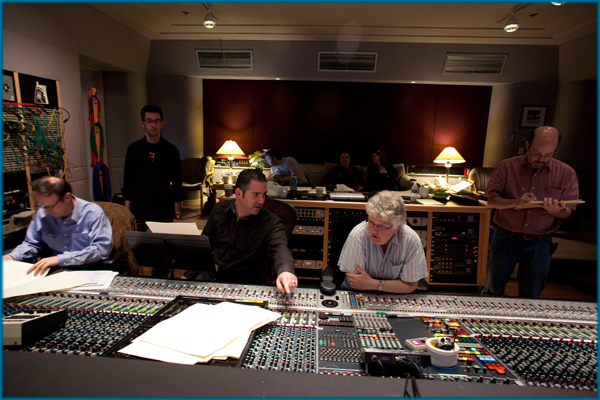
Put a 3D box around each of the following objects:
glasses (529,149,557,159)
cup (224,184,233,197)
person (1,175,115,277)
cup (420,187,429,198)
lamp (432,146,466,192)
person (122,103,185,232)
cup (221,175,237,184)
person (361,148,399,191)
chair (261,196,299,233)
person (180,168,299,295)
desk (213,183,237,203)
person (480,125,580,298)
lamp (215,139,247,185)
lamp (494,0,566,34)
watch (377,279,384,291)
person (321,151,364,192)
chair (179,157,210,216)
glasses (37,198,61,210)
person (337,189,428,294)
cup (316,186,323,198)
[{"bbox_3d":[2.330,-0.438,4.016,0.129,0.073,0.162,5,2,12],"label":"glasses"},{"bbox_3d":[-0.921,-0.129,5.467,0.158,0.171,0.139,-1,-5,-2],"label":"cup"},{"bbox_3d":[-2.195,0.228,3.921,0.896,0.827,0.944,6,5,14],"label":"person"},{"bbox_3d":[1.673,-0.103,5.541,0.150,0.147,0.123,1,10,16],"label":"cup"},{"bbox_3d":[2.787,-0.565,7.709,0.521,0.779,0.515,8,-9,-12],"label":"lamp"},{"bbox_3d":[-1.692,-0.350,4.756,0.653,1.436,0.334,-4,12,-23],"label":"person"},{"bbox_3d":[-1.008,-0.296,5.877,0.207,0.089,0.243,0,6,-21],"label":"cup"},{"bbox_3d":[1.503,-0.513,7.584,0.548,0.681,1.206,2,10,9],"label":"person"},{"bbox_3d":[-0.170,0.147,4.320,0.385,0.463,0.339,1,1,-3],"label":"chair"},{"bbox_3d":[-0.415,0.250,3.786,0.972,1.078,0.407,9,13,38],"label":"person"},{"bbox_3d":[-1.035,-0.103,5.694,0.401,0.260,0.212,0,3,1],"label":"desk"},{"bbox_3d":[2.296,0.159,4.167,0.813,1.774,0.481,7,12,30],"label":"person"},{"bbox_3d":[-1.384,-0.806,8.318,0.553,0.790,0.561,2,2,32],"label":"lamp"},{"bbox_3d":[3.393,-2.688,6.259,0.720,0.374,1.061,2,10,8],"label":"lamp"},{"bbox_3d":[0.679,0.710,3.442,0.056,0.080,0.074,6,-7,-6],"label":"watch"},{"bbox_3d":[0.810,-0.522,7.534,0.857,0.775,0.464,2,-13,-1],"label":"person"},{"bbox_3d":[-2.115,-0.317,8.056,0.789,0.963,0.770,-5,12,-37],"label":"chair"},{"bbox_3d":[-2.260,0.046,3.745,0.170,0.101,0.043,1,11,1],"label":"glasses"},{"bbox_3d":[0.714,0.375,3.509,0.747,0.911,0.461,2,11,6],"label":"person"},{"bbox_3d":[0.278,-0.108,5.449,0.114,0.138,0.207,0,6,9],"label":"cup"}]
